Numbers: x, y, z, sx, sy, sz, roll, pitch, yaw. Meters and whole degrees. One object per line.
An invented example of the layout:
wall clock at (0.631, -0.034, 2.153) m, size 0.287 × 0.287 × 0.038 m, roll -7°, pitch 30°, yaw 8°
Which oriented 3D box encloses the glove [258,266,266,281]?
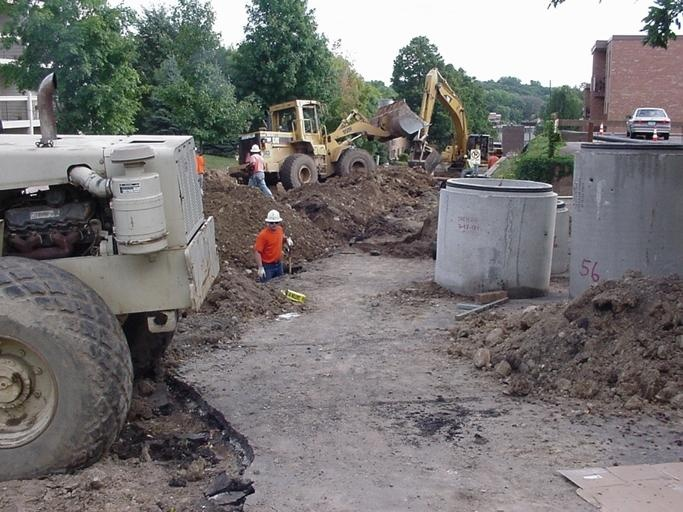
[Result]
glove at (-1.350, 0.292, 10.332) m, size 0.074 × 0.230 × 0.160 m, roll -6°, pitch -3°, yaw 0°

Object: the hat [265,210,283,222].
hat at (-1.138, -0.657, 10.401) m, size 0.299 × 0.211 × 0.393 m, roll -1°, pitch 4°, yaw -9°

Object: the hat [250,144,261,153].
hat at (-2.731, -3.366, 19.322) m, size 0.291 × 0.180 × 0.408 m, roll 0°, pitch 13°, yaw 2°

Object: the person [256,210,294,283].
person at (-1.206, -0.192, 10.670) m, size 0.596 × 1.232 × 0.956 m, roll -5°, pitch 9°, yaw 0°

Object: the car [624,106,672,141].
car at (14.997, -6.498, 29.960) m, size 1.740 × 1.603 × 4.292 m, roll 0°, pitch 10°, yaw 27°

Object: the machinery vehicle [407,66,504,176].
machinery vehicle at (4.976, -5.365, 25.788) m, size 5.180 × 3.904 × 1.512 m, roll -4°, pitch 19°, yaw -41°

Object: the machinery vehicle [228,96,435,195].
machinery vehicle at (-0.278, -4.128, 22.200) m, size 6.535 × 3.144 × 3.362 m, roll -12°, pitch 14°, yaw -27°
